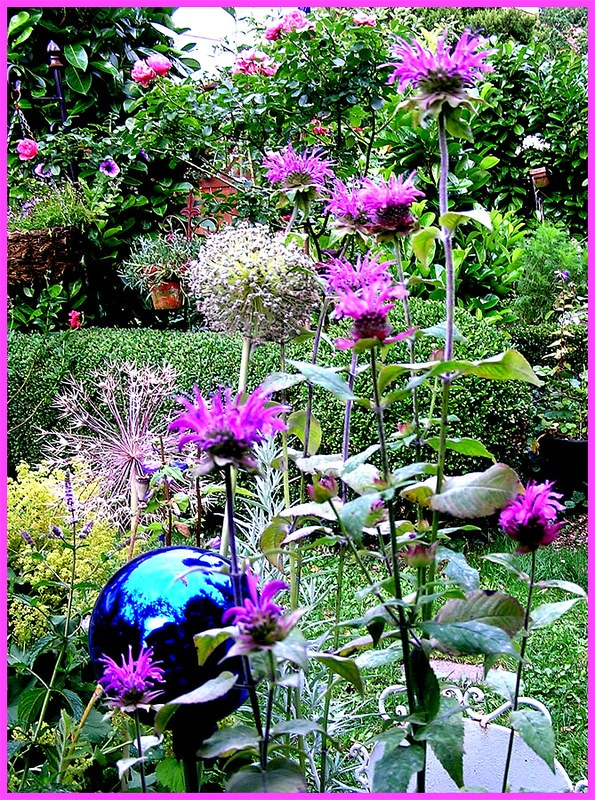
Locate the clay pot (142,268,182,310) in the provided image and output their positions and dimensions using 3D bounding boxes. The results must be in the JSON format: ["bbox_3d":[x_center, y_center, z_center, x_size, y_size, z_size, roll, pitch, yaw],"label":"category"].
[{"bbox_3d":[-0.726,-0.630,4.291,0.225,0.204,0.213,0,0,0],"label":"clay pot"}]

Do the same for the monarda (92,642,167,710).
[{"bbox_3d":[-0.228,0.369,1.042,0.068,0.117,0.061,0,-1,32],"label":"monarda"}]

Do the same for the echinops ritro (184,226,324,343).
[{"bbox_3d":[-0.090,-0.213,1.366,0.251,0.220,0.201,-1,5,11],"label":"echinops ritro"}]
